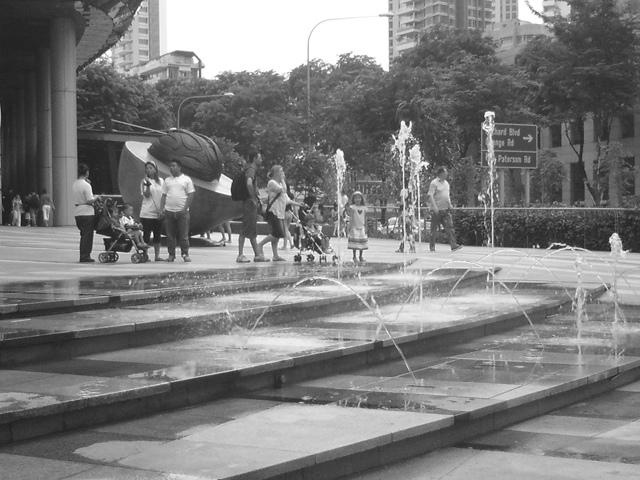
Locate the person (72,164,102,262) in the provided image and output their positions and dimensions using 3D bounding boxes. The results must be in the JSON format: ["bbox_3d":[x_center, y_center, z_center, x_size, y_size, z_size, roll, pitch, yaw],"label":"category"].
[{"bbox_3d":[-4.878,-0.525,23.809,0.499,2.197,0.432,2,8,27],"label":"person"}]

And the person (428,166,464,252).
[{"bbox_3d":[3.215,-0.854,29.740,0.900,2.409,0.786,0,4,-4],"label":"person"}]

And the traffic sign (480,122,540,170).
[{"bbox_3d":[6.004,-2.914,35.054,1.546,1.351,0.660,0,-1,-20],"label":"traffic sign"}]

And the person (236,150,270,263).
[{"bbox_3d":[-1.444,-0.653,24.437,0.833,2.135,0.657,0,0,-36],"label":"person"}]

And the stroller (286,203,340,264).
[{"bbox_3d":[-0.110,-0.065,26.064,0.950,1.605,1.004,-6,7,-43],"label":"stroller"}]

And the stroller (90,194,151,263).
[{"bbox_3d":[-4.408,-0.183,24.467,0.966,1.588,1.004,6,3,40],"label":"stroller"}]

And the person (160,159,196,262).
[{"bbox_3d":[-2.981,-0.625,24.287,0.711,2.140,0.679,0,0,5],"label":"person"}]

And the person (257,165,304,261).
[{"bbox_3d":[-0.827,-0.463,24.975,0.847,2.242,0.786,5,6,-2],"label":"person"}]
